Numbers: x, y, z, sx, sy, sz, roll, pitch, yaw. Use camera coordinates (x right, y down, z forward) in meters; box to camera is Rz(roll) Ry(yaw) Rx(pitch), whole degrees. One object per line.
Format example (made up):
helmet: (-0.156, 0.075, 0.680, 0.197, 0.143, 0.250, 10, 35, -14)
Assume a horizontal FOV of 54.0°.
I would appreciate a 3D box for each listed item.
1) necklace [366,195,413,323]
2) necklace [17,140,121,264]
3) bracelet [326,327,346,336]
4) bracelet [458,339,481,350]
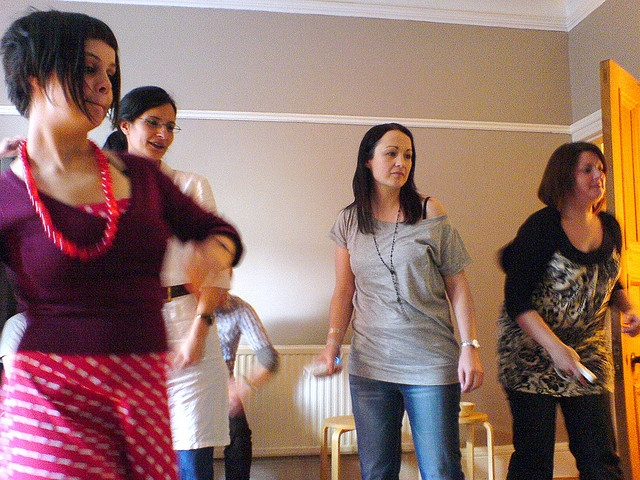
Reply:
necklace: (0.248, 0.093, 2.233, 0.104, 0.342, 0.027, -27, -23, 27)
necklace: (-0.514, -0.084, 1.284, 0.193, 0.265, 0.079, 4, -13, -25)
bracelet: (0.066, 0.344, 2.380, 0.041, 0.038, 0.040, 2, -5, -21)
bracelet: (0.525, 0.375, 2.226, 0.056, 0.035, 0.051, 8, -19, -25)
